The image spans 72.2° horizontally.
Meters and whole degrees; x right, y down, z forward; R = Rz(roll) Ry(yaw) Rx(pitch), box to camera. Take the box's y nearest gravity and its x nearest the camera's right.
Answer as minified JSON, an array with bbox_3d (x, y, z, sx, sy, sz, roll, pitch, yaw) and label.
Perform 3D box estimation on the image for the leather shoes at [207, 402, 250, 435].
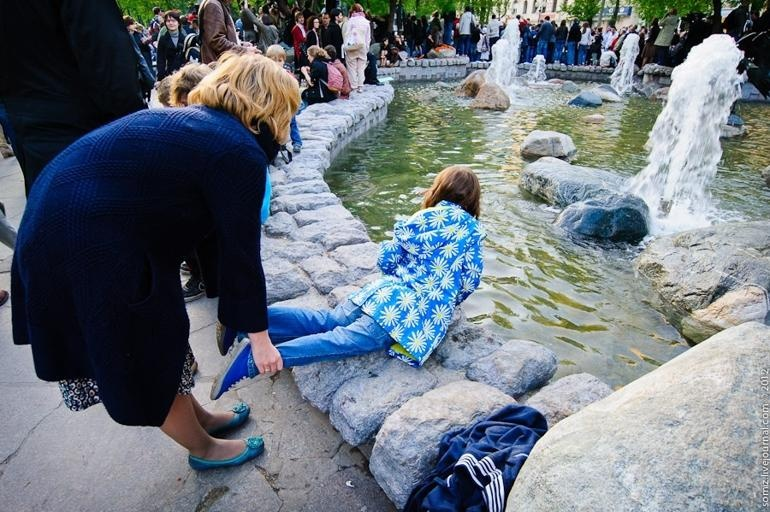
[{"bbox_3d":[-0.962,1.031,3.270,0.260,0.075,0.101,-29,44,-35],"label":"leather shoes"}]

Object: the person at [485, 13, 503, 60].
[{"bbox_3d":[5.015,-10.083,24.318,0.682,1.894,1.138,3,27,10],"label":"person"}]

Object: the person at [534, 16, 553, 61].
[{"bbox_3d":[7.003,-9.514,23.241,0.664,1.593,1.794,5,27,13],"label":"person"}]

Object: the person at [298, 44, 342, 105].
[{"bbox_3d":[-1.356,-3.788,11.035,0.775,1.160,0.625,-5,26,-6],"label":"person"}]

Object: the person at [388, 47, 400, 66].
[{"bbox_3d":[0.342,-7.654,20.391,0.574,0.823,0.291,3,20,12],"label":"person"}]

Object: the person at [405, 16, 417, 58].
[{"bbox_3d":[1.115,-9.489,22.737,0.513,1.527,1.105,-1,26,2],"label":"person"}]

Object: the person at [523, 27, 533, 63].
[{"bbox_3d":[6.404,-9.594,23.919,0.471,1.421,0.425,5,27,13],"label":"person"}]

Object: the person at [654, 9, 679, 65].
[{"bbox_3d":[9.511,-7.502,17.961,0.525,1.826,0.487,-16,39,-24],"label":"person"}]

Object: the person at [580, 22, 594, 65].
[{"bbox_3d":[8.870,-9.463,23.470,0.553,1.697,1.238,8,28,20],"label":"person"}]

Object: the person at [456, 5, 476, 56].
[{"bbox_3d":[3.685,-10.135,23.807,0.733,2.094,1.011,-4,26,-5],"label":"person"}]

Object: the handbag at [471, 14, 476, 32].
[{"bbox_3d":[3.932,-10.484,23.731,0.253,0.767,0.556,9,29,17],"label":"handbag"}]

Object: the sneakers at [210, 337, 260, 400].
[{"bbox_3d":[-0.883,0.685,3.134,0.225,0.543,0.178,6,23,-27],"label":"sneakers"}]

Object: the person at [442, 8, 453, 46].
[{"bbox_3d":[2.967,-10.520,24.409,0.511,1.356,1.020,1,27,6],"label":"person"}]

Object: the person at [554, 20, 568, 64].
[{"bbox_3d":[7.853,-9.632,23.718,0.531,1.731,1.118,7,28,16],"label":"person"}]

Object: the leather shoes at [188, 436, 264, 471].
[{"bbox_3d":[-0.912,1.162,3.104,0.422,0.129,0.156,-11,27,-14],"label":"leather shoes"}]
